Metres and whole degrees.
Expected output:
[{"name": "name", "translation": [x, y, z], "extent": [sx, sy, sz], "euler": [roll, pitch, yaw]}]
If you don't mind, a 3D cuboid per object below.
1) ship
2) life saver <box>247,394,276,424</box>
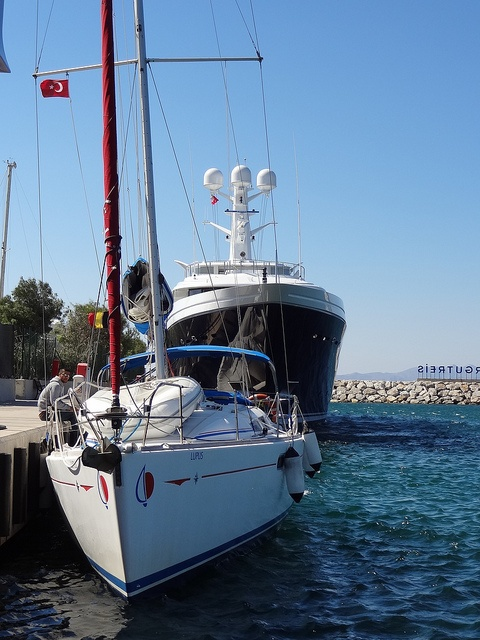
[{"name": "ship", "translation": [0.648, -0.207, 18.703], "extent": [3.597, 5.118, 9.239], "euler": [0, 0, 0]}, {"name": "life saver", "translation": [0.460, 1.503, 11.868], "extent": [0.278, 0.340, 1.014], "euler": [-4, -13, 13]}]
